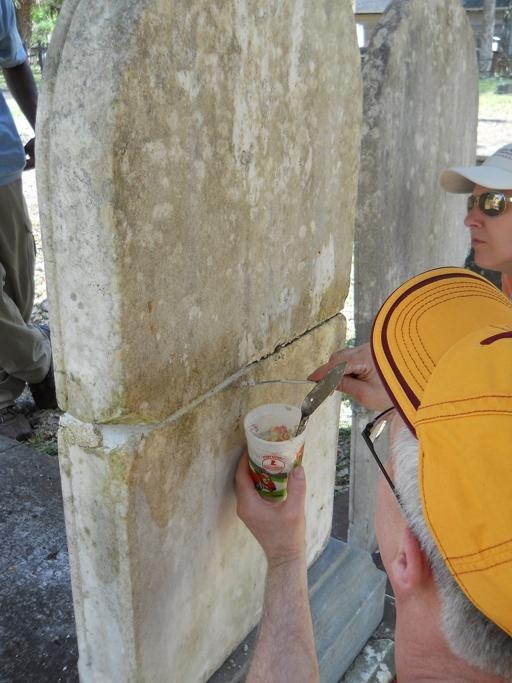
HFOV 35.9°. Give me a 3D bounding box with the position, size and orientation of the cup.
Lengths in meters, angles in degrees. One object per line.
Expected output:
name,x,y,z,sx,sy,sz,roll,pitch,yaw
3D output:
cup,0.038,0.209,1.680,0.146,0.269,0.177,-1,36,2
